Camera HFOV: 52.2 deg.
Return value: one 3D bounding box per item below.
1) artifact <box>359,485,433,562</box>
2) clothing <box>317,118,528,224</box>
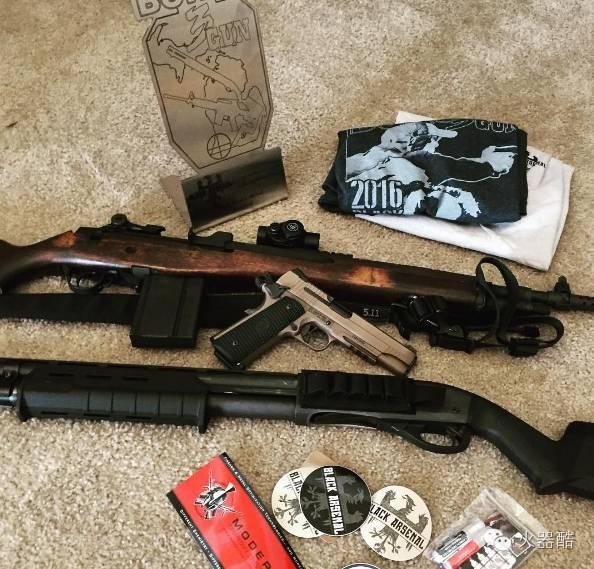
[{"bbox_3d":[0.383,0.898,2.290,0.255,0.075,0.250,16,76,8],"label":"artifact"},{"bbox_3d":[0.671,-0.580,3.182,1.064,0.205,0.538,6,56,9],"label":"clothing"}]
